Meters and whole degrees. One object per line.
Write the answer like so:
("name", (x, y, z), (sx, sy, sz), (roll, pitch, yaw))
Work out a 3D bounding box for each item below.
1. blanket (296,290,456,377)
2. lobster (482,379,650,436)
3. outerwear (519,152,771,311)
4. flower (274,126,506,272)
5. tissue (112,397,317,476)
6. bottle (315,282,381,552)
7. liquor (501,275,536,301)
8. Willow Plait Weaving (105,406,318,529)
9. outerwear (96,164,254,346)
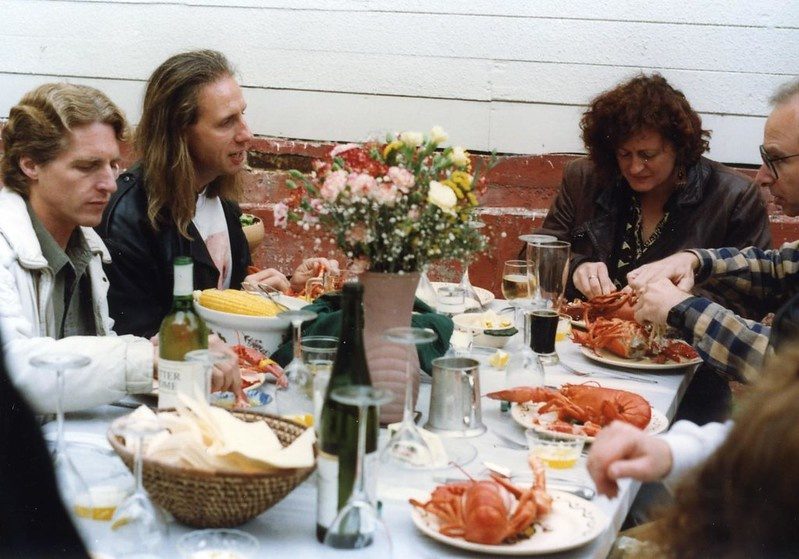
("blanket", (-0.065, 0.158, 2.495), (0.392, 0.134, 0.343), (9, 18, 7))
("lobster", (0.560, 0.389, 2.217), (0.330, 0.076, 0.225), (-2, 10, 13))
("outerwear", (1.326, -0.211, 3.886), (1.364, 0.870, 1.039), (4, 12, 19))
("flower", (-0.034, -0.229, 2.114), (0.535, 0.347, 0.497), (1, 8, 11))
("tissue", (-0.362, 0.294, 1.585), (0.251, 0.105, 0.253), (8, -1, 34))
("bottle", (-0.122, 0.292, 1.602), (0.111, 0.591, 0.174), (3, 8, -5))
("liquor", (0.488, 0.029, 2.907), (0.103, 0.076, 0.109), (1, -2, 2))
("Willow Plait Weaving", (-0.428, 0.415, 1.632), (0.437, 0.291, 0.286), (0, 8, -23))
("outerwear", (-0.949, -0.116, 2.925), (0.354, 0.630, 0.691), (12, 22, 31))
